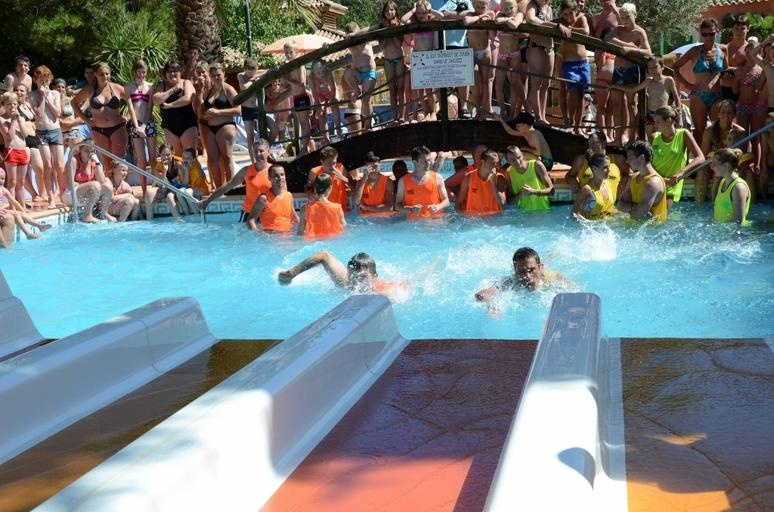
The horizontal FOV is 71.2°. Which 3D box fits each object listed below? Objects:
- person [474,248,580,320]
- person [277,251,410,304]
[{"bbox_3d":[1.300,0.221,5.435,1.001,0.552,0.624,-16,33,2],"label":"person"},{"bbox_3d":[-0.460,0.174,5.725,1.197,0.488,0.494,2,16,26],"label":"person"}]
